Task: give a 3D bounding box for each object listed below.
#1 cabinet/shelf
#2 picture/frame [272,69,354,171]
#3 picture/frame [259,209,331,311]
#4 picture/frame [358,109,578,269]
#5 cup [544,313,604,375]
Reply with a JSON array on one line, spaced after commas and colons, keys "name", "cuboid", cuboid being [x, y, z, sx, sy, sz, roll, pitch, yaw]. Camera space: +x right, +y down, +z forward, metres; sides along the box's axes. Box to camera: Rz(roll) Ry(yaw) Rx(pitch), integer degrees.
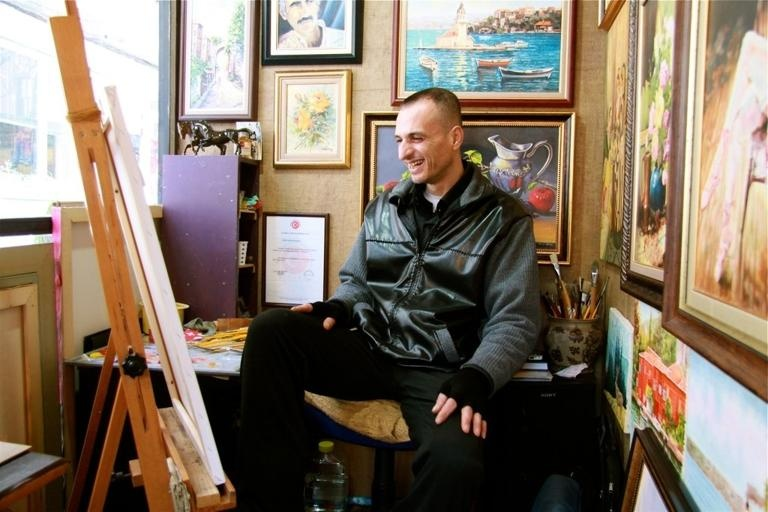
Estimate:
[{"name": "cabinet/shelf", "cuboid": [-0.864, -0.097, 3.076, 0.291, 0.861, 0.418, 2, 1, 2]}, {"name": "picture/frame", "cuboid": [-0.346, -0.716, 2.965, 0.509, 0.620, 0.044, 1, 1, 5]}, {"name": "picture/frame", "cuboid": [-0.443, 0.005, 2.971, 0.512, 0.718, 0.029, 1, 3, 6]}, {"name": "picture/frame", "cuboid": [0.429, -0.292, 2.568, 0.768, 0.560, 0.033, 0, 0, 6]}, {"name": "cup", "cuboid": [0.854, 0.405, 2.650, 0.259, 0.232, 0.257, 2, -3, 0]}]
